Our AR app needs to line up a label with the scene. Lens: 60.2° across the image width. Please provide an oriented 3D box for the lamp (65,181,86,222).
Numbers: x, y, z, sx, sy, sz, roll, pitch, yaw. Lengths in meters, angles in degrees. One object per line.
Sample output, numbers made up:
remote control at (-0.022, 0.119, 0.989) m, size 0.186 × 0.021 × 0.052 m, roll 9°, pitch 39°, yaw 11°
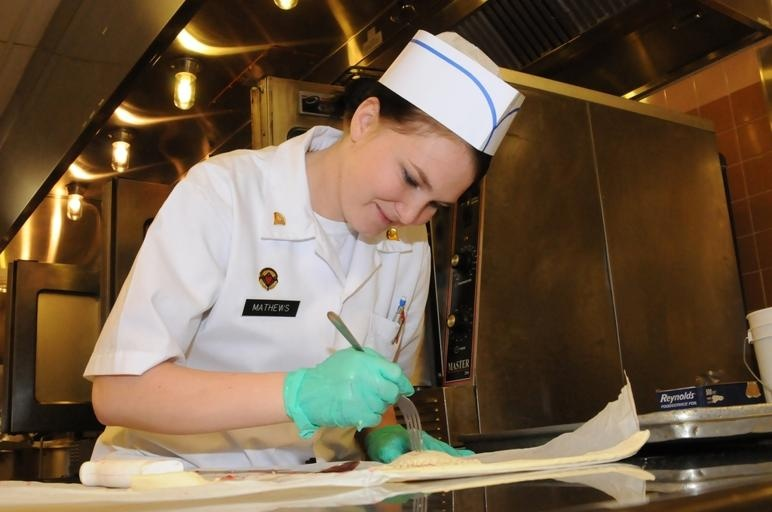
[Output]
lamp at (-2.045, -0.337, 4.377) m, size 0.112 × 0.256 × 0.120 m, roll -13°, pitch -17°, yaw 35°

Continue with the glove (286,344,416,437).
glove at (-0.108, 0.349, 1.713) m, size 0.295 × 0.215 × 0.110 m, roll -3°, pitch -16°, yaw 7°

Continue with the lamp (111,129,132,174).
lamp at (-1.506, -0.594, 3.768) m, size 0.105 × 0.237 × 0.107 m, roll 0°, pitch -1°, yaw -12°

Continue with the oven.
oven at (0.879, 0.171, 3.109) m, size 1.212 × 1.594 × 1.011 m, roll 13°, pitch -22°, yaw -11°

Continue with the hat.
hat at (0.176, -0.511, 1.999) m, size 0.373 × 0.210 × 0.377 m, roll 38°, pitch 5°, yaw -33°

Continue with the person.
person at (-0.216, -0.049, 2.026) m, size 1.141 × 1.167 × 0.512 m, roll 0°, pitch -15°, yaw -2°
